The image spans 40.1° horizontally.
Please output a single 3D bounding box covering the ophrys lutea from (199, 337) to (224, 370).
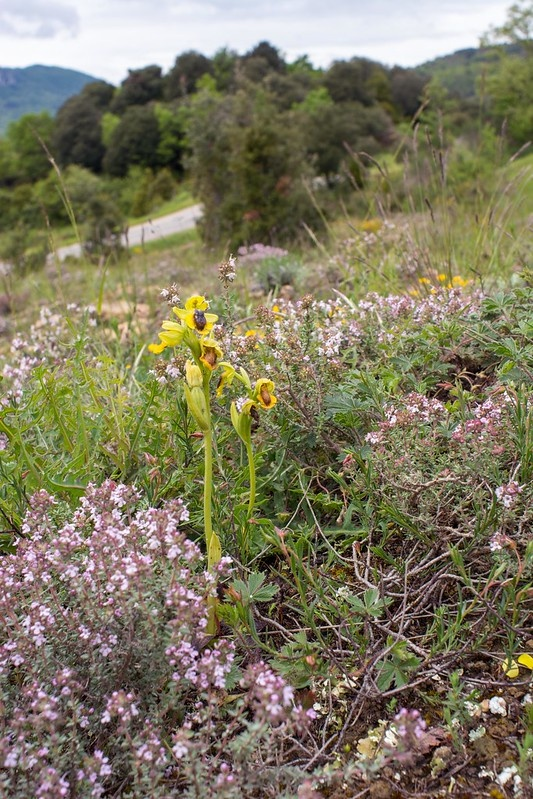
[{"bbox_3d":[-0.127,-0.103,1.653,0.052,0.064,0.030,-5,10,1],"label":"ophrys lutea"}]

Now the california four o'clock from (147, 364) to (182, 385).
[{"bbox_3d":[-0.286,-0.074,2.124,0.083,0.066,0.091,-5,2,-31],"label":"california four o'clock"}]
